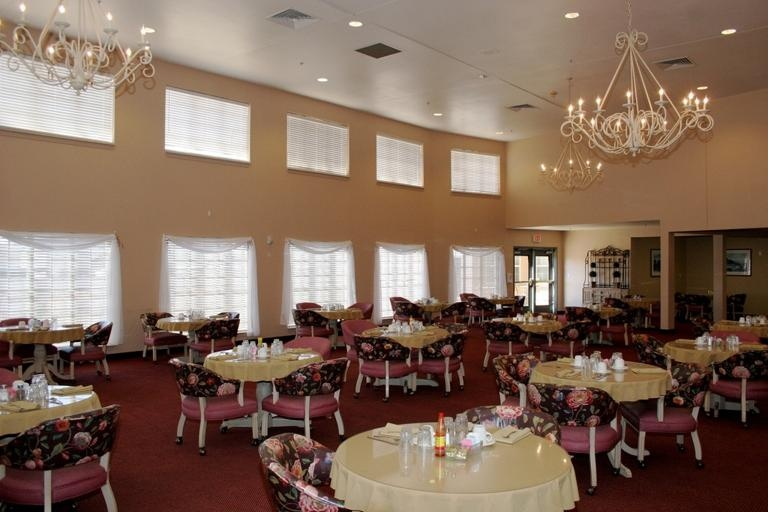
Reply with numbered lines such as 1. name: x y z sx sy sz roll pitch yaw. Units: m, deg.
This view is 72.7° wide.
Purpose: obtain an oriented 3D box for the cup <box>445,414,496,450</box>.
1. cup: 0.786 1.586 4.761 0.421 0.366 0.252 2 -3 6

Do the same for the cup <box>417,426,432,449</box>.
1. cup: 0.346 1.548 4.458 0.155 0.143 0.152 0 -4 0

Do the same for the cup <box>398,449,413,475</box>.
1. cup: 0.170 1.702 4.343 0.099 0.200 0.139 -2 -2 2

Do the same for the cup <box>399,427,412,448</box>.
1. cup: 0.182 1.553 4.470 0.117 0.169 0.122 -1 3 0

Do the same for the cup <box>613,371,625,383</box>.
1. cup: 2.843 1.469 6.322 0.107 0.082 0.114 0 0 0
